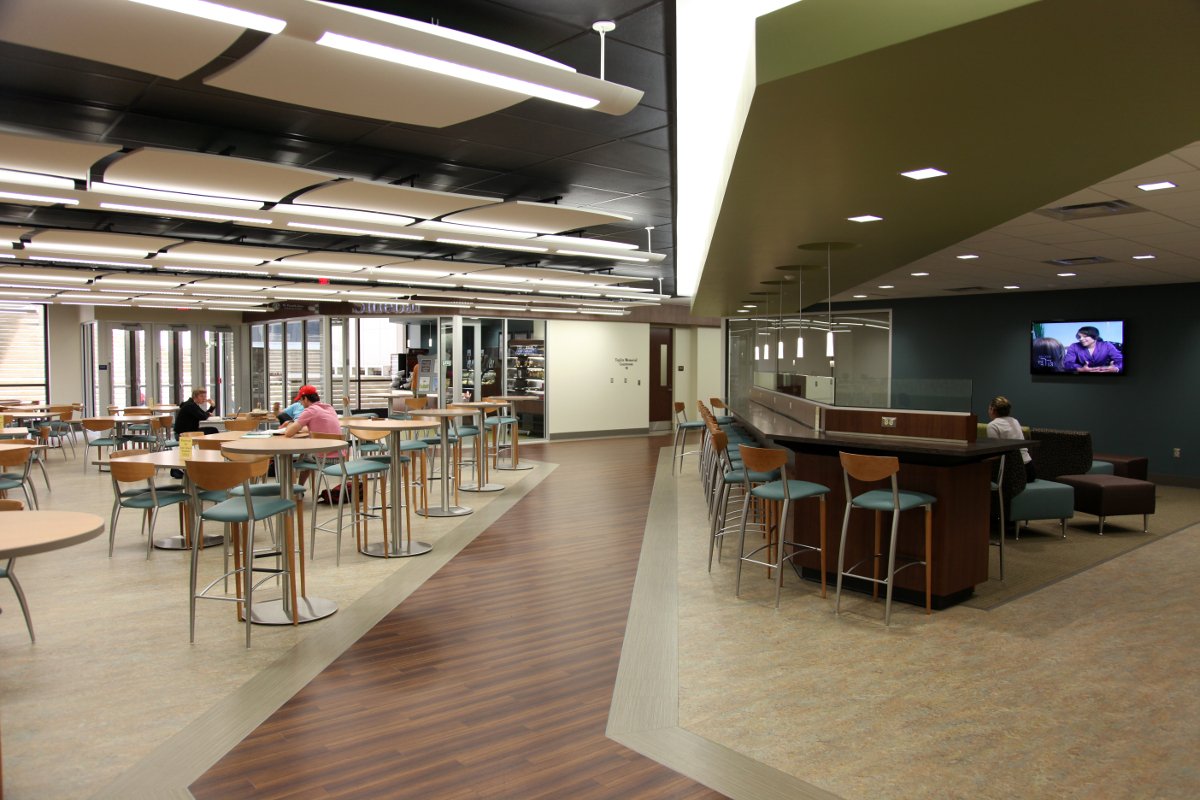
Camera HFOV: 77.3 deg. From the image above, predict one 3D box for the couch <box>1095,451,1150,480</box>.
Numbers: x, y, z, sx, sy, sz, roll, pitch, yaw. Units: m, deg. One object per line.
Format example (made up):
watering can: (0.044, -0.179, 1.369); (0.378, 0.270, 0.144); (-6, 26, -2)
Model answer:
couch: (7.307, 0.947, 10.432); (0.509, 0.274, 0.674); (1, -1, 16)

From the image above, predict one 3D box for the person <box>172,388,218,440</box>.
person: (-5.636, 0.329, 10.382); (0.589, 0.851, 0.431); (-8, 10, -31)

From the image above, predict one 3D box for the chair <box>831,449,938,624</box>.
chair: (2.402, 1.083, 6.273); (0.811, 1.360, 1.021); (4, 12, 19)

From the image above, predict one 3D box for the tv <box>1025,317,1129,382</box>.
tv: (8.159, -0.846, 12.660); (0.137, 0.796, 1.299); (-3, 4, -44)

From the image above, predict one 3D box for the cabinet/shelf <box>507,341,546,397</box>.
cabinet/shelf: (-1.712, -0.729, 17.257); (0.935, 1.253, 0.350); (2, 12, 10)

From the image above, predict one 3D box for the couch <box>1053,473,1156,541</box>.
couch: (6.178, 1.381, 9.017); (0.796, 0.490, 1.134); (1, -3, -8)
